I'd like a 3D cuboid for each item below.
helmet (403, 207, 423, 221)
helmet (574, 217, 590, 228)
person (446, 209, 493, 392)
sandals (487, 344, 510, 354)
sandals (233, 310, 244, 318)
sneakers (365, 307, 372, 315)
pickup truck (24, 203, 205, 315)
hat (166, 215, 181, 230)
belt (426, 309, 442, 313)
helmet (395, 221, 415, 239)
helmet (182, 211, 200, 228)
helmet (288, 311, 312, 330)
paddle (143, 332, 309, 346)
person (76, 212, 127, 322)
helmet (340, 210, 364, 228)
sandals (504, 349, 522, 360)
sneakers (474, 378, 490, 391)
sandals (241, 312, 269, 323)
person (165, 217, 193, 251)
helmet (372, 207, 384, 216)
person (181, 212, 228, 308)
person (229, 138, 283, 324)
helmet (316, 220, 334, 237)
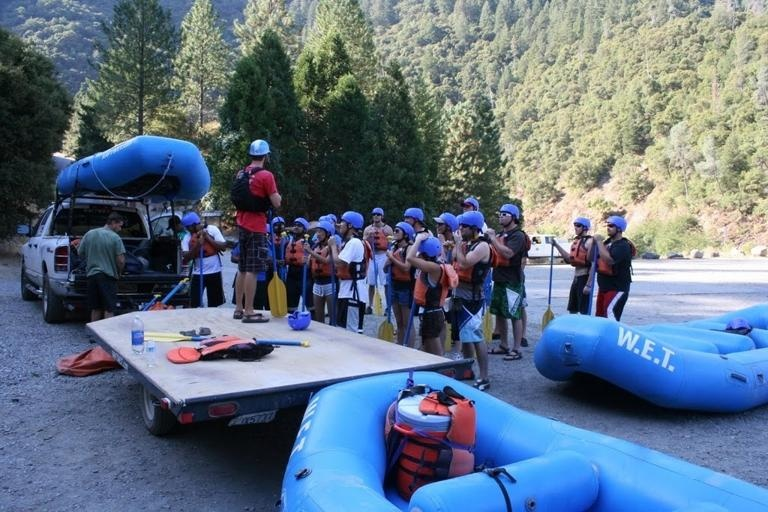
[{"bbox_3d":[0.637,-0.803,14.331,0.399,0.324,0.303,-12,17,-26],"label":"helmet"},{"bbox_3d":[4.328,-0.731,15.441,0.313,0.197,0.232,25,1,-9],"label":"helmet"},{"bbox_3d":[1.565,0.748,12.827,0.714,3.064,1.346,1,5,6],"label":"person"},{"bbox_3d":[2.300,1.853,14.349,0.393,0.176,0.187,2,0,-5],"label":"sandals"},{"bbox_3d":[-2.631,1.049,12.912,0.135,0.121,0.262,0,-3,-16],"label":"sandals"},{"bbox_3d":[-0.385,1.370,17.955,0.114,0.216,0.081,-1,0,4],"label":"sneakers"},{"bbox_3d":[-6.607,0.041,16.180,2.365,1.816,4.101,-1,8,-33],"label":"pickup truck"},{"bbox_3d":[-4.838,-0.734,16.476,0.374,0.278,0.510,-4,19,-36],"label":"hat"},{"bbox_3d":[0.879,0.947,12.565,0.315,0.068,0.044,-1,5,-18],"label":"belt"},{"bbox_3d":[0.409,-0.501,14.001,0.266,0.362,0.264,-11,7,11],"label":"helmet"},{"bbox_3d":[-4.192,-0.794,15.485,0.363,0.323,0.283,-21,25,-12],"label":"helmet"},{"bbox_3d":[-1.489,1.130,12.554,0.352,0.281,0.286,4,-6,-29],"label":"helmet"},{"bbox_3d":[-2.677,1.365,11.687,2.693,0.168,0.711,1,4,8],"label":"paddle"},{"bbox_3d":[-5.660,0.228,14.261,0.827,2.112,0.647,-2,5,-26],"label":"person"},{"bbox_3d":[-0.675,-0.742,14.607,0.431,0.346,0.323,36,22,22],"label":"helmet"},{"bbox_3d":[2.527,1.949,14.033,0.152,0.142,0.424,-4,-8,35],"label":"sandals"},{"bbox_3d":[1.711,2.216,12.430,0.170,0.215,0.488,-6,-12,37],"label":"sneakers"},{"bbox_3d":[-2.303,1.084,12.777,0.464,0.177,0.185,0,2,-19],"label":"sandals"},{"bbox_3d":[-4.682,-0.476,16.356,0.697,0.527,1.091,0,-1,-20],"label":"person"},{"bbox_3d":[-0.145,-0.985,16.903,0.305,0.195,0.441,6,13,-4],"label":"helmet"},{"bbox_3d":[-3.876,0.087,15.388,0.823,2.023,0.997,-4,6,-42],"label":"person"},{"bbox_3d":[-2.297,-0.426,12.716,0.886,3.205,0.558,1,5,5],"label":"person"},{"bbox_3d":[-1.230,-0.580,15.168,0.346,0.279,0.265,-14,25,-38],"label":"helmet"}]
